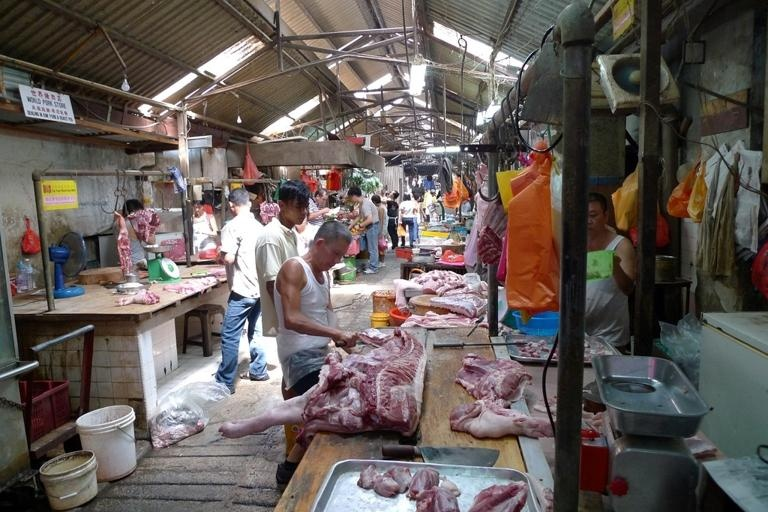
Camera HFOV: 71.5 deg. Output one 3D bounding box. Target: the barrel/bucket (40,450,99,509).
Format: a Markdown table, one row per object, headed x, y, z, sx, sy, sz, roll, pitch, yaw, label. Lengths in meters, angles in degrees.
| x | y | z | sx | sy | sz | roll | pitch | yaw | label |
| --- | --- | --- | --- | --- | --- | --- | --- | --- | --- |
| -2.824 | 2.046 | 4.893 | 0.430 | 0.341 | 0.440 | -1 | 0 | 0 | barrel/bucket |

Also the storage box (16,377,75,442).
| x | y | z | sx | sy | sz | roll | pitch | yaw | label |
| --- | --- | --- | --- | --- | --- | --- | --- | --- | --- |
| -3.334 | 1.417 | 5.121 | 0.407 | 0.614 | 0.537 | -3 | 6 | 7 | storage box |

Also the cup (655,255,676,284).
| x | y | z | sx | sy | sz | roll | pitch | yaw | label |
| --- | --- | --- | --- | --- | --- | --- | --- | --- | --- |
| 2.994 | 0.160 | 5.720 | 0.283 | 0.280 | 0.293 | 1 | -2 | 0 | cup |

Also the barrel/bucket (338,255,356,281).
| x | y | z | sx | sy | sz | roll | pitch | yaw | label |
| --- | --- | --- | --- | --- | --- | --- | --- | --- | --- |
| -0.827 | 0.331 | 12.285 | 0.468 | 0.527 | 0.483 | 0 | 0 | 0 | barrel/bucket |

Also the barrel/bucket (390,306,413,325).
| x | y | z | sx | sy | sz | roll | pitch | yaw | label |
| --- | --- | --- | --- | --- | --- | --- | --- | --- | --- |
| 0.174 | 0.692 | 6.114 | 0.183 | 0.144 | 0.190 | 0 | 13 | 0 | barrel/bucket |

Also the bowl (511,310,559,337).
| x | y | z | sx | sy | sz | roll | pitch | yaw | label |
| --- | --- | --- | --- | --- | --- | --- | --- | --- | --- |
| 1.395 | 0.637 | 4.863 | 0.438 | 0.300 | 0.433 | -1 | 1 | 0 | bowl |

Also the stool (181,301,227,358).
| x | y | z | sx | sy | sz | roll | pitch | yaw | label |
| --- | --- | --- | --- | --- | --- | --- | --- | --- | --- |
| -2.651 | 1.019 | 7.795 | 0.642 | 0.879 | 0.664 | 2 | 5 | 12 | stool |

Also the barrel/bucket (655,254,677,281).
| x | y | z | sx | sy | sz | roll | pitch | yaw | label |
| --- | --- | --- | --- | --- | --- | --- | --- | --- | --- |
| 3.011 | 0.141 | 5.739 | 0.260 | 0.240 | 0.269 | 1 | -2 | 0 | barrel/bucket |

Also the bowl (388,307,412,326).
| x | y | z | sx | sy | sz | roll | pitch | yaw | label |
| --- | --- | --- | --- | --- | --- | --- | --- | --- | --- |
| 0.171 | 0.692 | 6.120 | 0.189 | 0.149 | 0.195 | 0 | 9 | 0 | bowl |

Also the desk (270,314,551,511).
| x | y | z | sx | sy | sz | roll | pitch | yaw | label |
| --- | --- | --- | --- | --- | --- | --- | --- | --- | --- |
| 0.441 | 1.090 | 3.885 | 1.469 | 0.547 | 2.341 | -1 | 7 | 24 | desk |

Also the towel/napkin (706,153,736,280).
| x | y | z | sx | sy | sz | roll | pitch | yaw | label |
| --- | --- | --- | --- | --- | --- | --- | --- | --- | --- |
| 3.343 | -0.399 | 5.294 | 0.259 | 1.180 | 0.185 | 0 | 7 | 31 | towel/napkin |

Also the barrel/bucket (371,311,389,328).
| x | y | z | sx | sy | sz | roll | pitch | yaw | label |
| --- | --- | --- | --- | --- | --- | --- | --- | --- | --- |
| -0.054 | 0.790 | 6.561 | 0.184 | 0.145 | 0.191 | -1 | 8 | 0 | barrel/bucket |

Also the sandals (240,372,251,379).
| x | y | z | sx | sy | sz | roll | pitch | yaw | label |
| --- | --- | --- | --- | --- | --- | --- | --- | --- | --- |
| -1.782 | 1.564 | 6.923 | 0.162 | 0.072 | 0.085 | 8 | -1 | 35 | sandals |

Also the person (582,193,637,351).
| x | y | z | sx | sy | sz | roll | pitch | yaw | label |
| --- | --- | --- | --- | --- | --- | --- | --- | --- | --- |
| 2.082 | 0.208 | 4.931 | 0.411 | 1.571 | 3.035 | -1 | 7 | 24 | person |

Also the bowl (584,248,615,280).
| x | y | z | sx | sy | sz | roll | pitch | yaw | label |
| --- | --- | --- | --- | --- | --- | --- | --- | --- | --- |
| 1.527 | 0.074 | 3.793 | 0.162 | 0.211 | 0.146 | -1 | 6 | 20 | bowl |

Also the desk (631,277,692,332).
| x | y | z | sx | sy | sz | roll | pitch | yaw | label |
| --- | --- | --- | --- | --- | --- | --- | --- | --- | --- |
| 2.686 | 0.479 | 5.228 | 0.470 | 0.644 | 0.640 | 0 | 3 | 11 | desk |
